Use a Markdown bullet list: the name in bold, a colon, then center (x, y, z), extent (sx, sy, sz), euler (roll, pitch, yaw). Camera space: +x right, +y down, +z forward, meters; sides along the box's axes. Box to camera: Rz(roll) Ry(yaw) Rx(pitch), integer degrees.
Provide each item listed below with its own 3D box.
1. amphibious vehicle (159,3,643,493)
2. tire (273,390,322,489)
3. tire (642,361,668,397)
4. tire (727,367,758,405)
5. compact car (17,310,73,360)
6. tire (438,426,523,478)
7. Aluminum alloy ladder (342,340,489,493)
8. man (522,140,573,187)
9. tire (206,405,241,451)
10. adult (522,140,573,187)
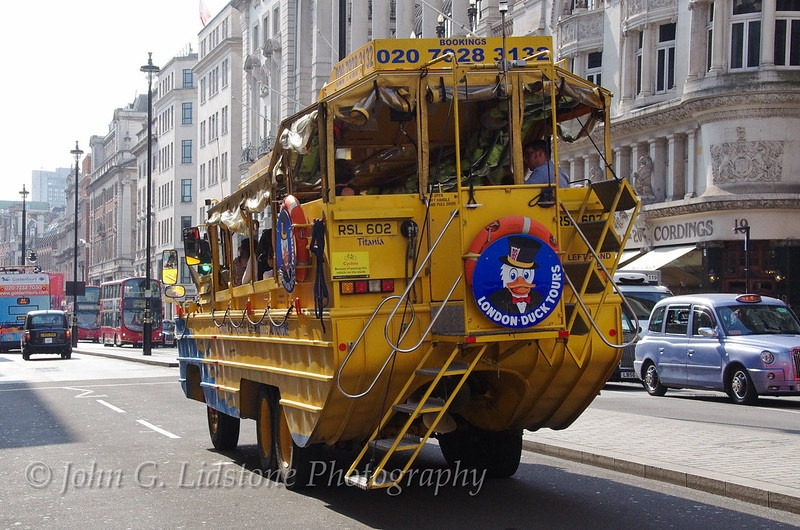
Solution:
- **amphibious vehicle**: center (-0.586, 0.315, 14.597), extent (4.320, 5.676, 9.204), euler (-2, -5, -23)
- **tire**: center (-1.341, 2.235, 11.951), extent (0.427, 1.523, 1.377), euler (0, -2, -20)
- **tire**: center (6.332, 2.854, 23.285), extent (0.283, 0.880, 0.797), euler (3, -8, -20)
- **tire**: center (7.643, 2.731, 20.885), extent (0.297, 0.884, 0.820), euler (3, -1, -14)
- **compact car**: center (-18.712, 3.318, 48.795), extent (2.480, 2.516, 4.971), euler (0, 8, -28)
- **tire**: center (1.127, 2.656, 13.097), extent (0.838, 0.733, 0.936), euler (2, -6, -26)
- **Aluminum alloy ladder**: center (0.254, 1.828, 11.386), extent (2.040, 2.471, 1.259), euler (3, -8, -28)
- **man**: center (1.816, -1.238, 11.714), extent (0.530, 0.723, 0.831), euler (0, -12, 13)
- **tire**: center (-2.875, 2.659, 15.041), extent (0.293, 0.987, 0.890), euler (-2, 6, -22)
- **adult**: center (1.801, -1.240, 11.715), extent (0.549, 0.710, 0.801), euler (2, -12, 3)
